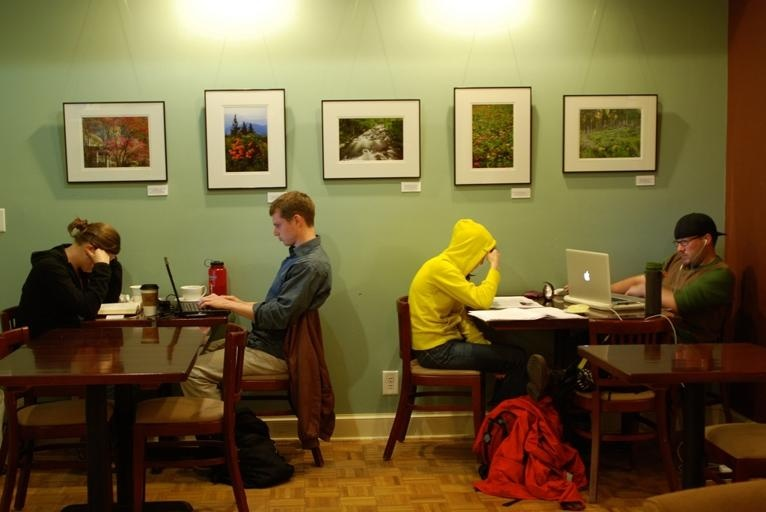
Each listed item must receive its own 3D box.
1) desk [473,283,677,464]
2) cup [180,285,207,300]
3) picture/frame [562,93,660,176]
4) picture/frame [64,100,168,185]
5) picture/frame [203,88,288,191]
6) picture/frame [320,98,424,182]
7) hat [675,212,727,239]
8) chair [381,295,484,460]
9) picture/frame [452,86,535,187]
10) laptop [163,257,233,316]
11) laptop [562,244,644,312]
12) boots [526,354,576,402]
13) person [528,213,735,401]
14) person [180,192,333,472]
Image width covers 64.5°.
[{"bbox_3d":[1.303,0.774,4.252,1.253,1.445,1.016,0,5,7],"label":"desk"},{"bbox_3d":[-1.364,0.260,4.380,0.159,0.069,0.126,3,-4,-38],"label":"cup"},{"bbox_3d":[1.708,-0.949,4.600,0.626,0.508,0.023,0,2,1],"label":"picture/frame"},{"bbox_3d":[-2.006,-0.861,4.481,0.641,0.498,0.022,0,1,-6],"label":"picture/frame"},{"bbox_3d":[-1.030,-0.885,4.498,0.761,0.825,0.057,-1,5,1],"label":"picture/frame"},{"bbox_3d":[-0.118,-0.880,4.537,0.645,0.484,0.021,0,1,-3],"label":"picture/frame"},{"bbox_3d":[2.221,-0.213,4.253,0.277,0.157,0.188,-9,6,-7],"label":"hat"},{"bbox_3d":[0.361,0.845,4.328,0.714,1.115,0.586,0,10,9],"label":"chair"},{"bbox_3d":[0.806,-0.925,4.565,0.764,0.859,0.031,-1,4,-1],"label":"picture/frame"},{"bbox_3d":[-1.287,0.156,4.219,0.415,0.335,0.502,0,2,-14],"label":"laptop"},{"bbox_3d":[1.528,0.139,4.219,0.412,0.342,0.489,-3,7,-20],"label":"laptop"},{"bbox_3d":[1.075,0.790,4.023,0.275,0.457,0.149,-5,48,-13],"label":"boots"},{"bbox_3d":[1.955,0.347,4.412,1.202,1.228,0.573,-6,14,-1],"label":"person"},{"bbox_3d":[-0.828,0.511,4.360,1.093,1.833,0.802,2,3,2],"label":"person"}]
